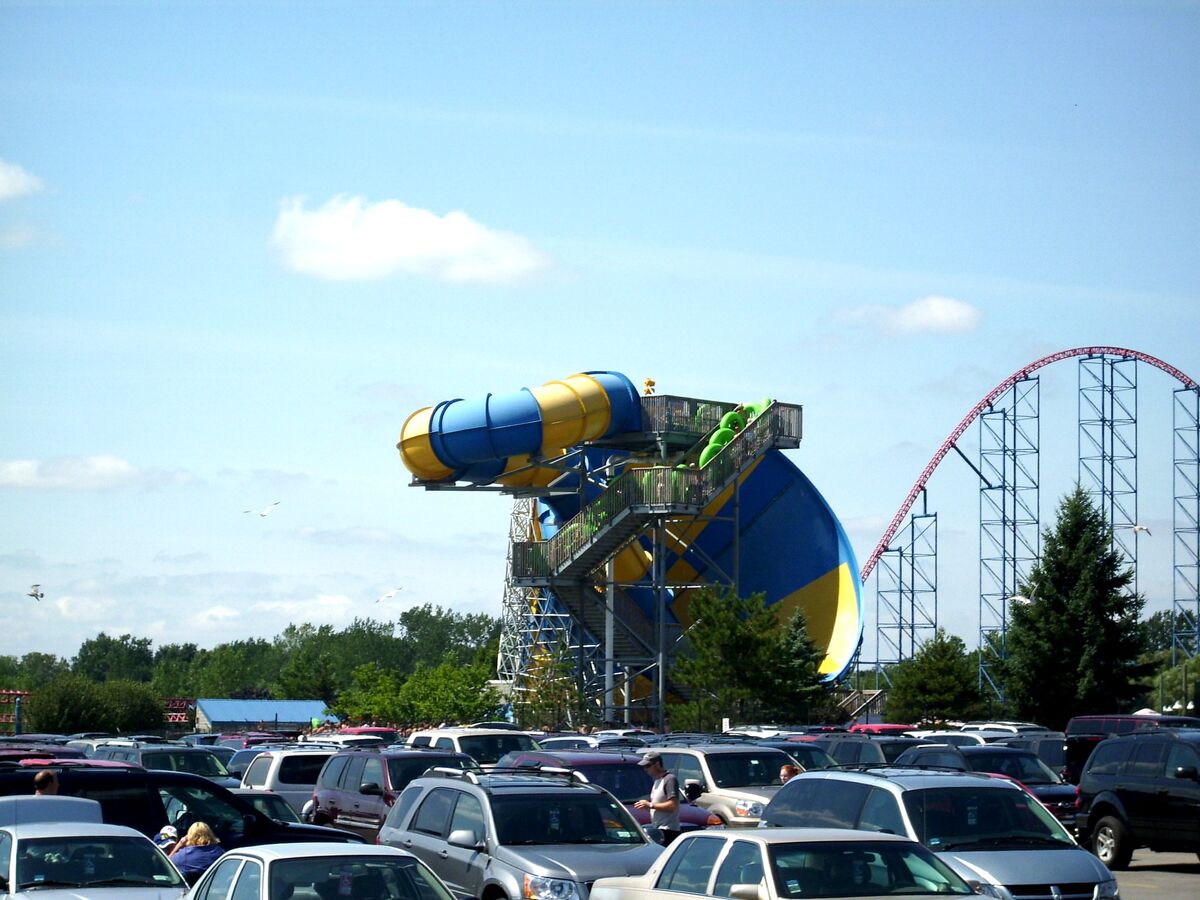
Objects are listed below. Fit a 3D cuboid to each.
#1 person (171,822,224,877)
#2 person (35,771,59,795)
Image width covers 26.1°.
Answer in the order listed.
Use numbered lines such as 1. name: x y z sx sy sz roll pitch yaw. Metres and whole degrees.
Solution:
1. person: -6.634 6.579 42.974 0.722 0.955 0.365 -9 -56 10
2. person: -9.337 5.613 43.756 0.385 0.447 0.970 4 -12 -13
